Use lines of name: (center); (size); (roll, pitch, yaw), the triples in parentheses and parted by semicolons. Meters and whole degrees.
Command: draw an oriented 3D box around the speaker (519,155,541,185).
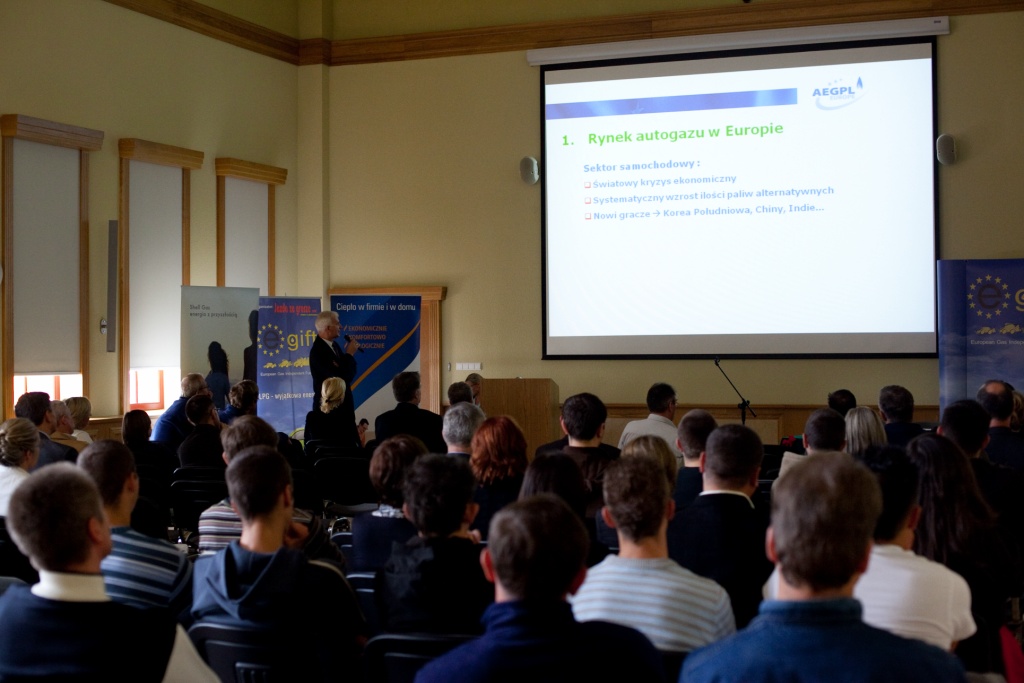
speaker: (0.216, -2.052, 10.228); (0.224, 0.342, 0.172); (1, -1, -5)

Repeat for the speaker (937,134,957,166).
speaker: (4.635, -2.039, 9.116); (0.212, 0.312, 0.072); (-2, 5, -18)

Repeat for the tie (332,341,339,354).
tie: (-1.642, 0.052, 7.994); (0.022, 0.097, 0.068); (-8, 26, -18)
